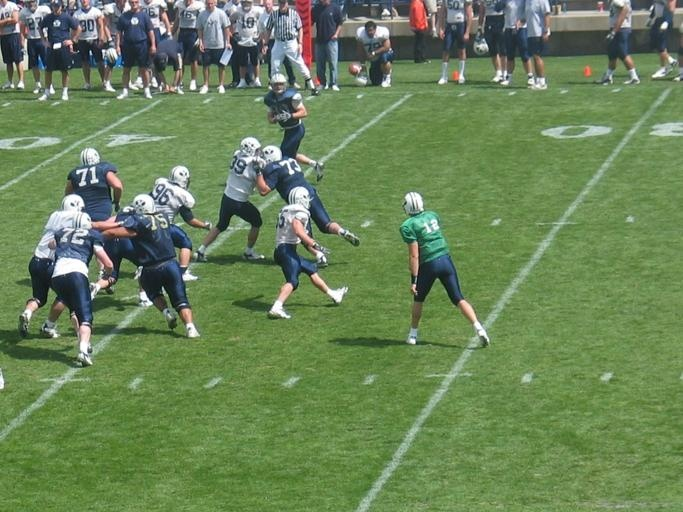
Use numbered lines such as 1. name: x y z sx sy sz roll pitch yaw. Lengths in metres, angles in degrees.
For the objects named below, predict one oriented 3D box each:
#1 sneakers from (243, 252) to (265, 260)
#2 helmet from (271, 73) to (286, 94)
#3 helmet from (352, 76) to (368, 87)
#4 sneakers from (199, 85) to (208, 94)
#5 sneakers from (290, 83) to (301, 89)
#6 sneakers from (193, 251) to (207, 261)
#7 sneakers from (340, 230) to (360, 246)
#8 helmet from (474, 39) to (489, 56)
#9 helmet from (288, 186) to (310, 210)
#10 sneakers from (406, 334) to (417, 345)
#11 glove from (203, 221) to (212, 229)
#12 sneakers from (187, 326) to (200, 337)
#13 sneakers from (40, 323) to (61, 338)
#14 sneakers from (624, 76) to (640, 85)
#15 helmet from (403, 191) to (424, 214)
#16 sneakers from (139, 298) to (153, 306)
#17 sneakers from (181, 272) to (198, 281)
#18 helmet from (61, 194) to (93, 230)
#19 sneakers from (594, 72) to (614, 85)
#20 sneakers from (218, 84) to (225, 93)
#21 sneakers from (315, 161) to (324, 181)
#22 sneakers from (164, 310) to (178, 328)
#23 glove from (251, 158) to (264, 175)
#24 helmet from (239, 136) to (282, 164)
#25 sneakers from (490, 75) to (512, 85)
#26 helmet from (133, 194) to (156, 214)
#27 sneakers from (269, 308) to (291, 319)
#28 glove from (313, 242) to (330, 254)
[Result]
1. sneakers: -1.181 0.002 17.199 0.314 0.121 0.106 -3 45 -8
2. helmet: -0.908 -2.557 18.789 0.248 0.225 0.292 -3 7 -2
3. helmet: 0.429 -3.511 25.633 0.282 0.214 0.270 -7 23 -12
4. sneakers: -2.679 -3.269 24.842 0.124 0.088 0.232 -17 18 8
5. sneakers: -0.907 -3.418 25.552 0.128 0.093 0.206 -12 -3 7
6. sneakers: -1.901 0.029 17.160 0.074 0.092 0.218 43 3 43
7. sneakers: 0.180 -0.243 16.695 0.330 0.128 0.149 37 -12 -18
8. helmet: 2.856 -4.151 25.729 0.355 0.401 0.416 -3 29 6
9. helmet: -0.515 -0.706 15.582 0.242 0.257 0.409 -4 12 -3
10. sneakers: 0.819 0.970 14.578 0.155 0.090 0.174 -3 5 -10
11. glove: -1.729 -0.394 16.427 0.108 0.118 0.286 -3 -2 -5
12. sneakers: -1.728 0.894 14.818 0.099 0.135 0.144 -9 23 -8
13. sneakers: -3.432 0.890 14.982 0.220 0.142 0.069 18 30 -13
14. sneakers: 5.616 -3.372 24.371 0.363 0.141 0.118 5 21 22
15. helmet: 0.863 -0.610 14.546 0.223 0.224 0.272 -4 15 -16
16. sneakers: -2.413 0.597 15.765 0.176 0.072 0.062 -3 3 16
17. sneakers: -1.959 0.271 16.510 0.239 0.103 0.078 0 23 -9
18. helmet: -3.057 -0.499 14.666 0.286 0.339 0.623 -7 12 -14
19. sneakers: 5.083 -3.418 24.745 0.431 0.262 0.146 4 8 24
20. sneakers: -2.328 -3.263 24.839 0.182 0.161 0.111 -2 9 0
21. sneakers: -0.294 -1.232 18.525 0.143 0.280 0.100 -14 16 -25
22. sneakers: -1.967 0.761 14.792 0.130 0.278 0.097 39 71 19
23. glove: -1.078 -1.170 16.635 0.172 0.178 0.201 0 0 -1
24. helmet: -1.035 -1.379 16.910 0.556 0.212 0.355 9 13 -12
25. sneakers: 3.188 -3.463 25.026 0.464 0.185 0.150 5 4 -12
26. helmet: -2.317 -0.614 14.903 0.238 0.209 0.323 -6 12 -11
27. sneakers: -0.739 0.703 15.216 0.293 0.124 0.106 3 25 -13
28. glove: -0.228 -0.088 15.873 0.267 0.085 0.113 27 -5 -5
